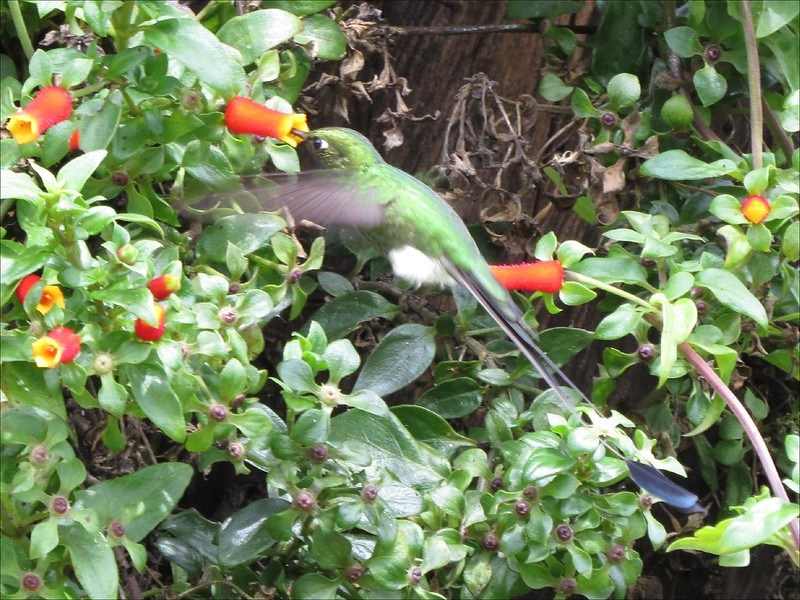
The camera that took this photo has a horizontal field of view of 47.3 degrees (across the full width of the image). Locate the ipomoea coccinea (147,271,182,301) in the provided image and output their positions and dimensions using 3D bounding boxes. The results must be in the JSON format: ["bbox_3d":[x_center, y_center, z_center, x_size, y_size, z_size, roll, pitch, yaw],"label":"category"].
[{"bbox_3d":[-0.410,-0.022,1.580,0.052,0.048,0.042,-1,23,-11],"label":"ipomoea coccinea"}]

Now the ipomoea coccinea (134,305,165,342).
[{"bbox_3d":[-0.424,0.040,1.538,0.050,0.066,0.037,-3,24,-16],"label":"ipomoea coccinea"}]

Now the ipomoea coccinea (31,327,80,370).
[{"bbox_3d":[-0.559,0.078,1.462,0.073,0.037,0.090,-21,24,-19],"label":"ipomoea coccinea"}]

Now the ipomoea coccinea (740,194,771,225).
[{"bbox_3d":[0.679,-0.175,1.764,0.055,0.054,0.027,2,-1,23],"label":"ipomoea coccinea"}]

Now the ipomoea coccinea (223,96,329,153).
[{"bbox_3d":[-0.260,-0.347,1.816,0.165,0.102,0.106,9,27,5],"label":"ipomoea coccinea"}]

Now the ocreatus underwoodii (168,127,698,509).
[{"bbox_3d":[0.174,-0.008,2.097,1.357,0.321,0.704,31,-8,22],"label":"ocreatus underwoodii"}]

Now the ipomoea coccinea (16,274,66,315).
[{"bbox_3d":[-0.589,-0.008,1.497,0.084,0.053,0.031,28,-22,-15],"label":"ipomoea coccinea"}]

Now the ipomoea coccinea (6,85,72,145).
[{"bbox_3d":[-0.615,-0.313,1.558,0.098,0.092,0.130,-2,23,-14],"label":"ipomoea coccinea"}]
